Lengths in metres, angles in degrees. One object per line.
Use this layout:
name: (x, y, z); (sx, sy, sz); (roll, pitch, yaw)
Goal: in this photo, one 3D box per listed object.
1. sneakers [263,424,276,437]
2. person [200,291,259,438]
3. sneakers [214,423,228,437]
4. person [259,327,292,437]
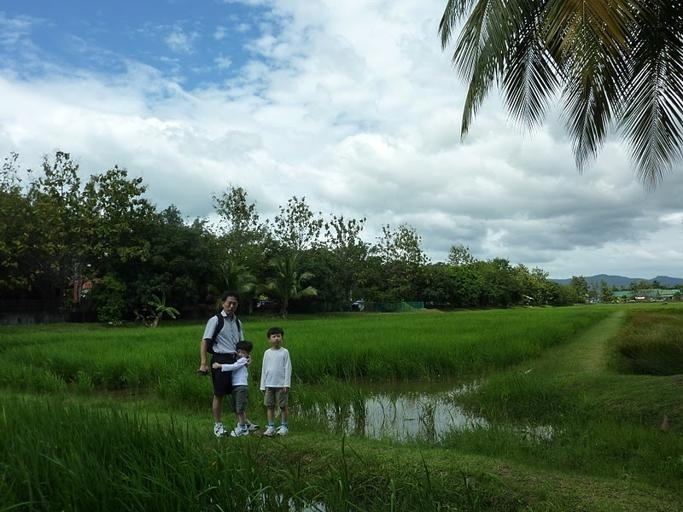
sneakers: (-1.279, 3.116, 10.457); (0.226, 0.193, 0.335); (1, -8, -8)
person: (-2.038, 1.940, 10.478); (0.908, 2.538, 0.749); (3, -17, -28)
sneakers: (-2.145, 3.062, 10.267); (0.232, 0.213, 0.424); (1, -8, -13)
person: (-1.210, 2.264, 10.624); (0.503, 1.925, 0.894); (1, -6, -8)
